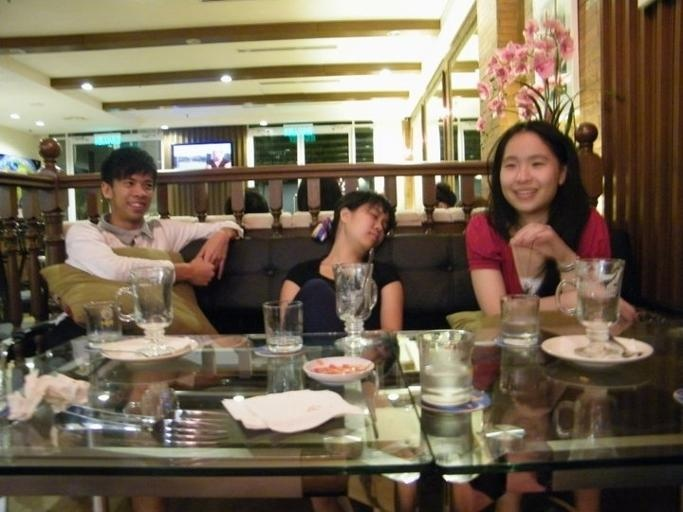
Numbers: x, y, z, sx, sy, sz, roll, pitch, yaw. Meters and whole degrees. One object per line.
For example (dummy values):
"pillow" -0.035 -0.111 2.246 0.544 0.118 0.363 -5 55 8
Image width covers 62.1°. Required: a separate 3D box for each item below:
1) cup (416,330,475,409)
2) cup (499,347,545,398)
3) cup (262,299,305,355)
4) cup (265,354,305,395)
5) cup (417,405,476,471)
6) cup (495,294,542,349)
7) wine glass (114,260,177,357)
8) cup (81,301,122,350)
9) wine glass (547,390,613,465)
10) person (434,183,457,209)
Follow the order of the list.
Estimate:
"cup" 0.212 0.237 1.181 0.126 0.144 0.134 0 -4 0
"cup" 0.431 0.279 1.364 0.081 0.089 0.083 0 4 0
"cup" -0.152 0.196 1.544 0.118 0.140 0.128 0 -1 0
"cup" -0.140 0.299 1.406 0.057 0.064 0.058 0 -3 0
"cup" 0.201 0.361 1.104 0.075 0.087 0.077 0 -8 0
"cup" 0.470 0.182 1.581 0.125 0.138 0.126 0 0 0
"wine glass" -0.523 0.135 1.633 0.225 0.332 0.181 1 3 -20
"cup" -0.674 0.192 1.609 0.113 0.135 0.120 0 3 0
"wine glass" 0.481 0.333 1.135 0.098 0.060 0.096 -3 2 -5
"person" 0.993 -0.597 5.425 0.167 0.254 0.801 -3 4 11
